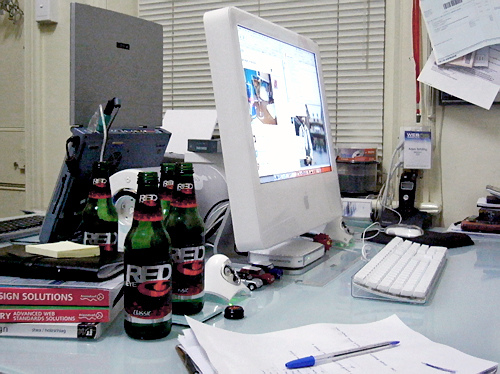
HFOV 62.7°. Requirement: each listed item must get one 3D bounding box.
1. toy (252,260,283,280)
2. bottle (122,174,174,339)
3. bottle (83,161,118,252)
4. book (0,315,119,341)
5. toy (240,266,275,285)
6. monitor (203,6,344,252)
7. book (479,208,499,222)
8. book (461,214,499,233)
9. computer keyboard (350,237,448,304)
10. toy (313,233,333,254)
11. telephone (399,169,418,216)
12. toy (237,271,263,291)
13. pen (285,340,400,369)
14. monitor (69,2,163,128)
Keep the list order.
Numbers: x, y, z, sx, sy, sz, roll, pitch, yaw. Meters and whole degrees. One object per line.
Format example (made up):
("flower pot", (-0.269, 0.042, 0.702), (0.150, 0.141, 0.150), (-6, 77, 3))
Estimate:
("toy", (0.050, 0.205, 1.015), (0.057, 0.028, 0.035), (2, 9, 21))
("bottle", (-0.167, 0.118, 0.681), (0.080, 0.282, 0.037), (0, 8, -15))
("bottle", (-0.321, 0.041, 0.881), (0.071, 0.193, 0.050), (0, 8, -19))
("book", (-0.339, 0.244, 0.702), (0.170, 0.030, 0.019), (2, 8, -2))
("toy", (0.020, 0.205, 0.966), (0.060, 0.028, 0.037), (1, 7, 20))
("monitor", (0.085, -0.148, 1.093), (0.189, 0.543, 0.482), (8, 9, 32))
("book", (0.855, 0.101, 1.473), (0.058, 0.043, 0.028), (9, -5, 40))
("book", (0.831, 0.139, 1.484), (0.118, 0.033, 0.058), (7, 9, 26))
("computer keyboard", (0.393, 0.204, 1.050), (0.167, 0.048, 0.448), (8, 9, 32))
("toy", (0.220, 0.170, 1.221), (0.048, 0.018, 0.051), (-13, 43, -20))
("telephone", (0.645, 0.013, 1.681), (0.065, 0.166, 0.266), (6, 9, 22))
("toy", (0.001, 0.215, 0.933), (0.047, 0.022, 0.027), (9, 15, 24))
("pen", (0.152, 0.264, 0.653), (0.213, 0.010, 0.024), (-1, 9, -23))
("monitor", (-0.414, -0.373, 1.315), (0.104, 0.359, 0.356), (7, 9, 31))
